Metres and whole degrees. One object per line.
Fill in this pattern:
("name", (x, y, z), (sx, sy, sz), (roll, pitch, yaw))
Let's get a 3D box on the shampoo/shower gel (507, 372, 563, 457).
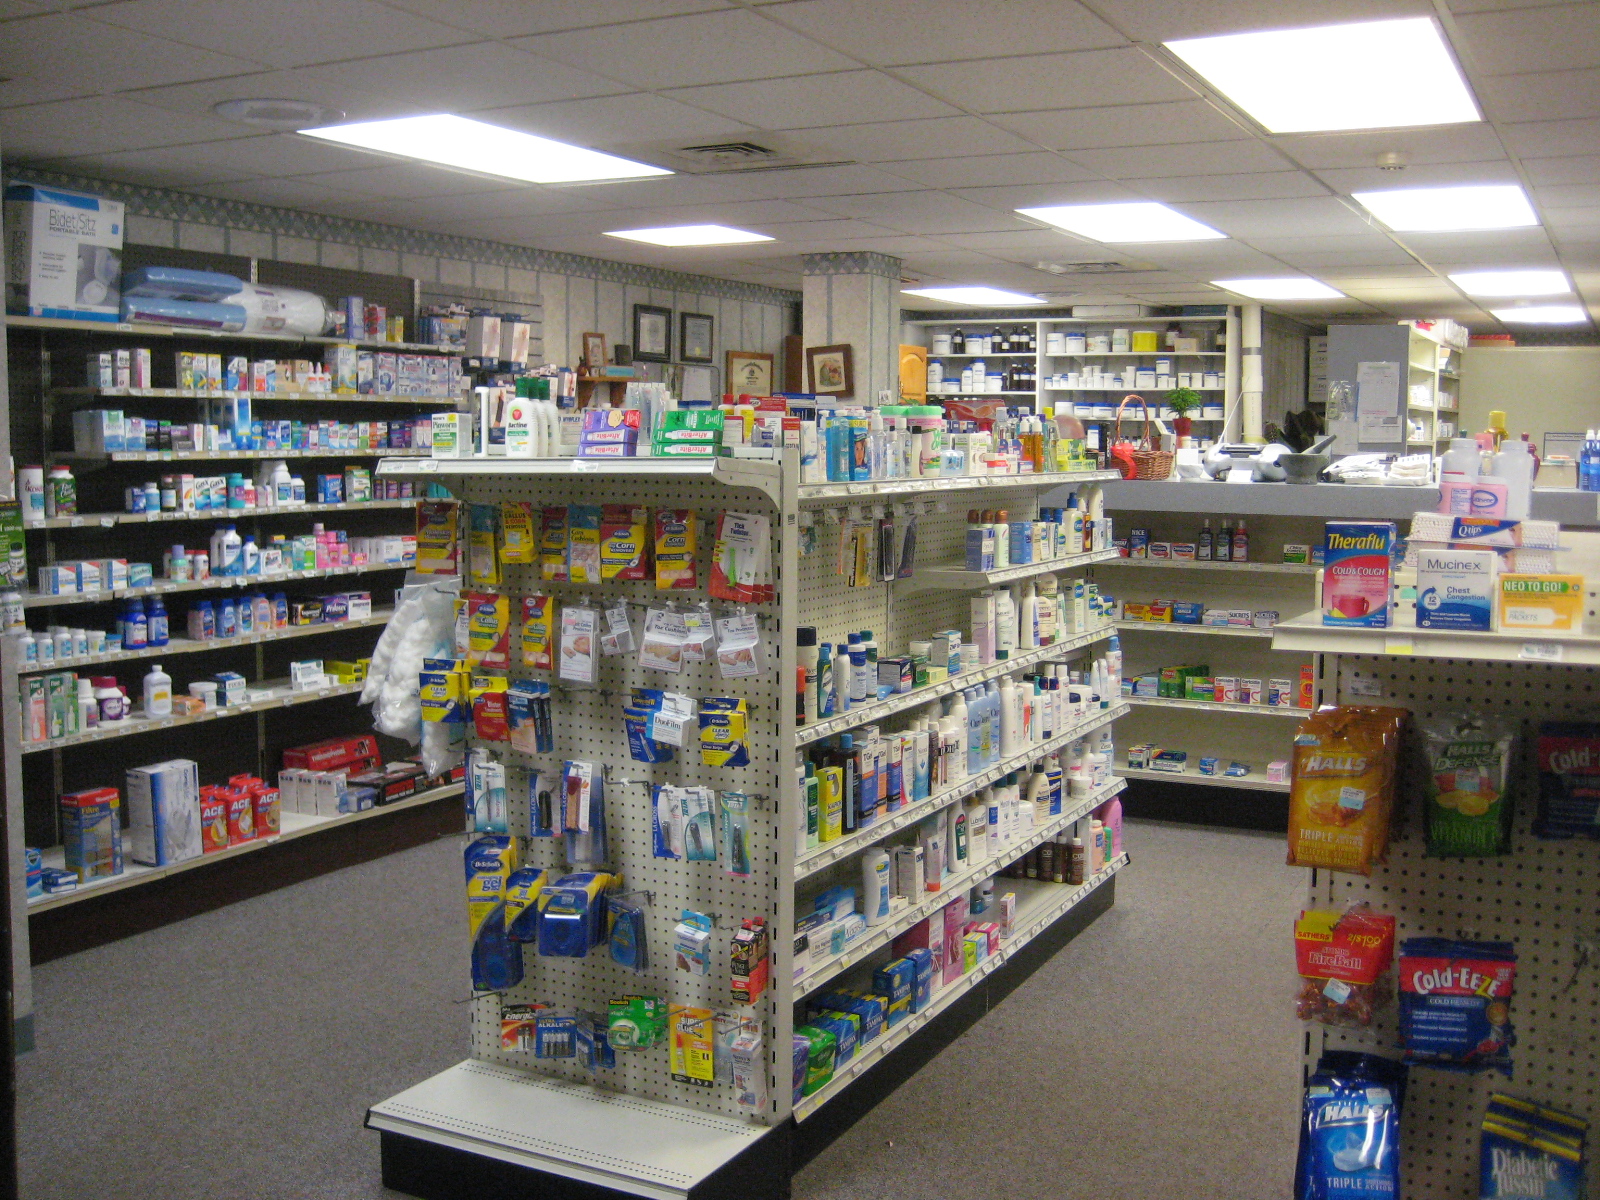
("shampoo/shower gel", (-0.902, -0.614, 4.376), (0.183, 0.270, 0.192), (-2, 9, -18))
